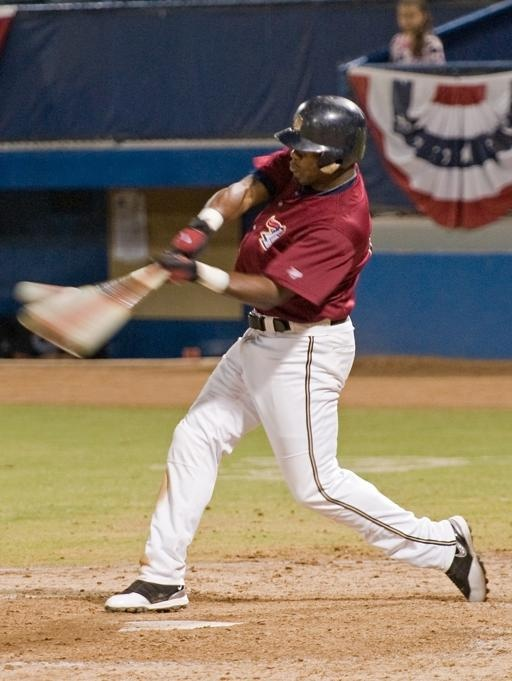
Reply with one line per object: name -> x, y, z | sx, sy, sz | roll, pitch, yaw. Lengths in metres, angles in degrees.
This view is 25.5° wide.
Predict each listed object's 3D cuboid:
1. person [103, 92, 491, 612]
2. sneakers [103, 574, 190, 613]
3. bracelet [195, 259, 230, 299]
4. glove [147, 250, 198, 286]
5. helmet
person -> 0.101, 0.046, 3.304 | 1.093, 1.511, 0.482 | -1, 11, -6
sneakers -> -0.311, 0.752, 3.333 | 0.267, 0.082, 0.087 | 3, -5, -15
bracelet -> -0.116, -0.173, 3.070 | 0.114, 0.057, 0.051 | 30, 25, 26
glove -> -0.224, -0.197, 3.035 | 0.102, 0.035, 0.071 | 28, -10, -3
helmet -> 0.171, -0.610, 3.224 | 0.282, 0.152, 0.196 | -16, 42, -34
